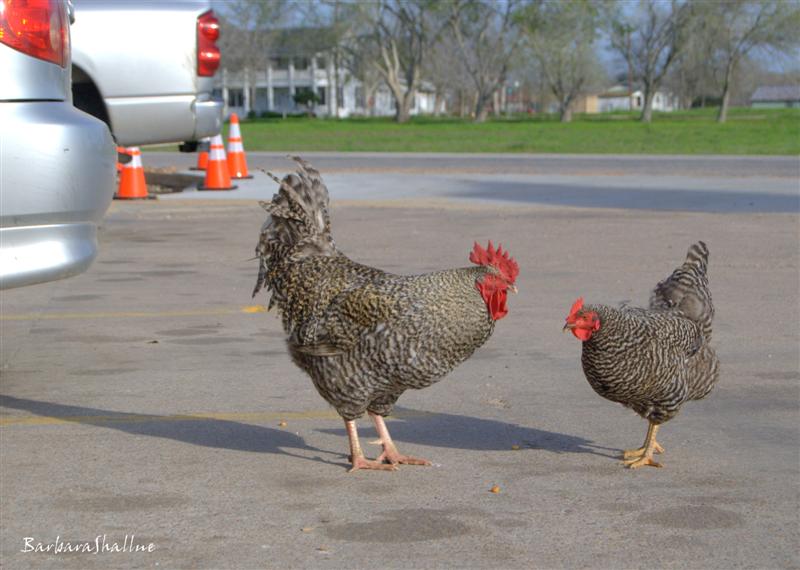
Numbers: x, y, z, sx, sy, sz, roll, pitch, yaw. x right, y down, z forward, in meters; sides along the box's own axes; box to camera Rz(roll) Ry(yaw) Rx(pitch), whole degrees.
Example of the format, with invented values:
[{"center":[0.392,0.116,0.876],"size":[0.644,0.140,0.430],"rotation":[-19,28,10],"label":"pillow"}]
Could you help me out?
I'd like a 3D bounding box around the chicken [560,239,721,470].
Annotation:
[{"center":[2.057,0.452,10.862],"size":[1.091,1.365,1.763],"rotation":[7,14,33],"label":"chicken"}]
